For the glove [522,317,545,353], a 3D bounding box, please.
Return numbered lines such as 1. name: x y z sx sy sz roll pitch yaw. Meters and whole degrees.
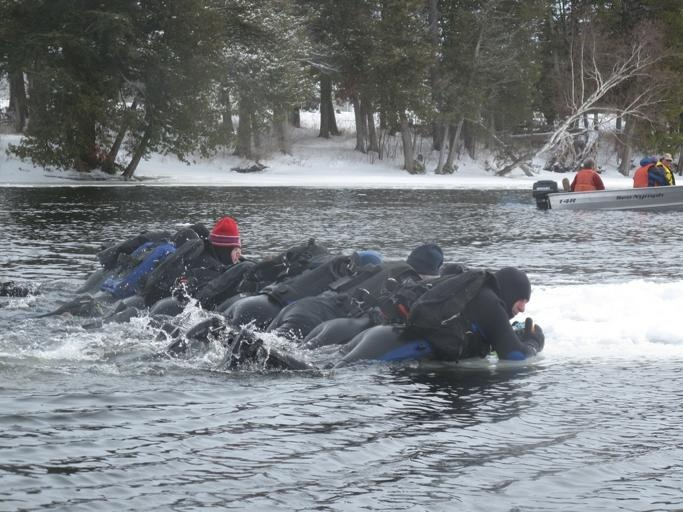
1. glove: 3.932 1.560 28.221 0.523 0.619 0.257 -9 -19 -48
